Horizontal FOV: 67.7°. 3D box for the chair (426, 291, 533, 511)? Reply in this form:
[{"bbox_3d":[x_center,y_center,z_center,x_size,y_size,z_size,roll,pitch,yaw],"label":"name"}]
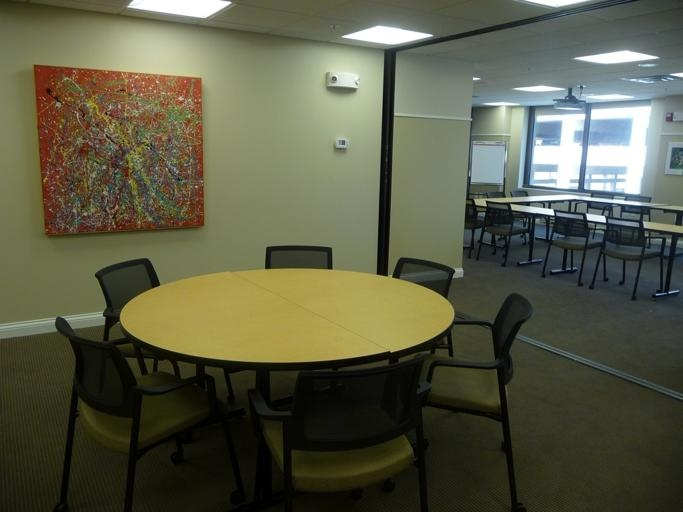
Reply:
[{"bbox_3d":[0.913,1.010,3.387,0.825,1.376,0.926,2,12,9],"label":"chair"}]

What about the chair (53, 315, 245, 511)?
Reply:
[{"bbox_3d":[-1.108,0.963,2.998,0.706,1.076,0.788,19,23,41],"label":"chair"}]

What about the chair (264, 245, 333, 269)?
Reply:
[{"bbox_3d":[-0.368,0.013,4.404,0.566,0.175,0.237,-1,13,-7],"label":"chair"}]
